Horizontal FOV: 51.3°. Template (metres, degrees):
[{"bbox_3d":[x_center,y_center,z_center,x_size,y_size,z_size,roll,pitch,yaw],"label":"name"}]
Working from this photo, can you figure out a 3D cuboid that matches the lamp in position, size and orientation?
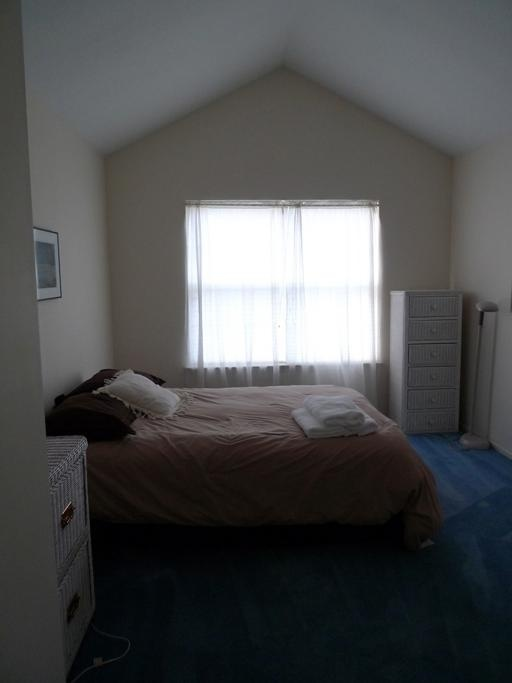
[{"bbox_3d":[1.601,0.218,3.817,0.235,1.033,0.555,1,7,24],"label":"lamp"}]
